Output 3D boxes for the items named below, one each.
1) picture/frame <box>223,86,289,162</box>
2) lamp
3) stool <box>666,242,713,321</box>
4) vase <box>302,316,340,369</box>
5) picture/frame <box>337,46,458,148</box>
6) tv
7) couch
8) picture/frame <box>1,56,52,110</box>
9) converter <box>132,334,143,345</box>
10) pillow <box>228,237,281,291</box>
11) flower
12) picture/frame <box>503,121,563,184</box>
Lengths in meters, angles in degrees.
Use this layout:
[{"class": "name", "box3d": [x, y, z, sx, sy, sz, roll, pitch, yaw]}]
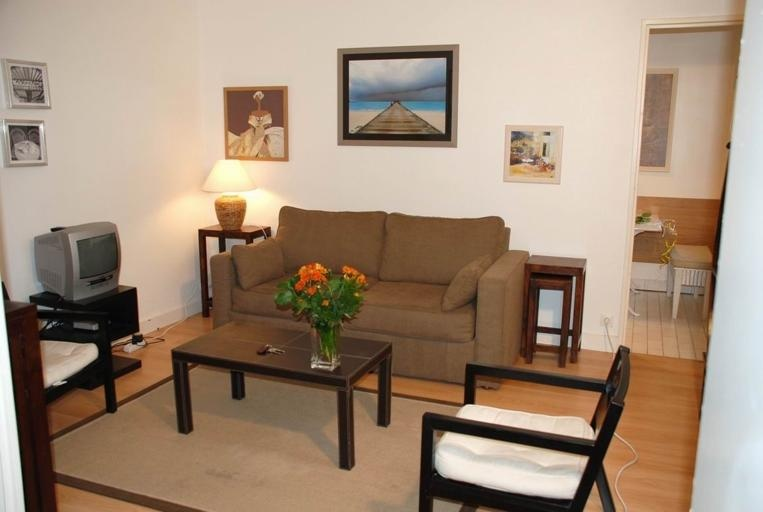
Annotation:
[{"class": "picture/frame", "box3d": [-1.197, -1.337, 5.641, 0.741, 0.737, 0.057, 5, 15, 19]}, {"class": "lamp", "box3d": [-1.486, -0.641, 5.785, 0.625, 0.769, 0.637, 4, 11, 15]}, {"class": "stool", "box3d": [3.200, 0.260, 5.925, 0.377, 0.595, 0.700, 4, 13, 26]}, {"class": "vase", "box3d": [-0.318, 0.516, 3.496, 0.226, 0.308, 0.219, -4, 16, -14]}, {"class": "picture/frame", "box3d": [0.199, -1.469, 5.161, 0.960, 0.732, 0.035, 2, 8, 16]}, {"class": "tv", "box3d": [-2.364, -0.048, 4.579, 0.557, 0.630, 0.630, 7, 12, 17]}, {"class": "couch", "box3d": [-0.082, 0.289, 4.989, 2.509, 1.189, 1.122, 5, 14, 20]}, {"class": "picture/frame", "box3d": [-2.605, -1.275, 4.201, 0.046, 0.375, 0.442, 3, 7, 26]}, {"class": "converter", "box3d": [-2.073, 0.713, 4.908, 0.069, 0.040, 0.088, -1, 7, -22]}, {"class": "pillow", "box3d": [-1.054, 0.046, 5.054, 0.204, 0.349, 0.540, 2, 14, 36]}, {"class": "flower", "box3d": [-0.319, 0.355, 3.490, 0.498, 0.493, 0.461, 1, -1, 10]}, {"class": "picture/frame", "box3d": [1.323, -0.904, 4.889, 0.536, 0.534, 0.021, 3, 8, 21]}]
